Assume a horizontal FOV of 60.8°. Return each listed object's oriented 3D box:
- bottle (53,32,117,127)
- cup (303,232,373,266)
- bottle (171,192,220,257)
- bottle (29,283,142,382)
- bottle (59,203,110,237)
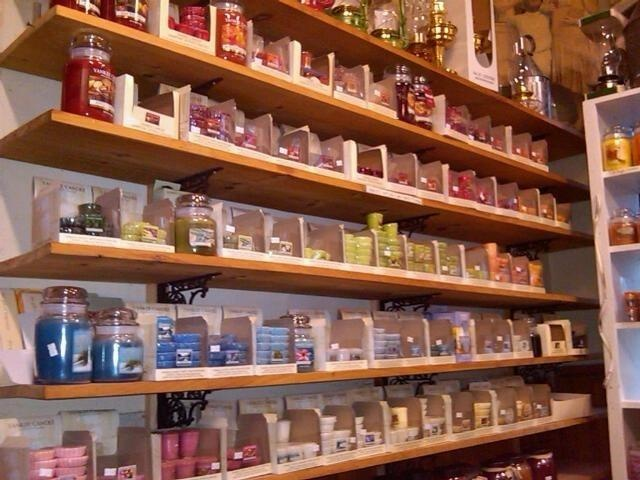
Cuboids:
[{"bbox_3d":[-0.826,-0.584,1.945,0.170,0.342,0.079,0,-13,-19],"label":"bottle"},{"bbox_3d":[0.087,0.052,2.635,0.245,0.109,0.228,2,-11,0],"label":"cup"},{"bbox_3d":[-0.479,-0.058,2.097,0.163,0.248,0.081,-2,-12,-10],"label":"bottle"},{"bbox_3d":[-0.781,0.318,1.857,0.344,0.328,0.119,1,-13,-21],"label":"bottle"},{"bbox_3d":[-0.821,-0.055,1.933,0.145,0.103,0.147,-1,-10,0],"label":"bottle"}]
